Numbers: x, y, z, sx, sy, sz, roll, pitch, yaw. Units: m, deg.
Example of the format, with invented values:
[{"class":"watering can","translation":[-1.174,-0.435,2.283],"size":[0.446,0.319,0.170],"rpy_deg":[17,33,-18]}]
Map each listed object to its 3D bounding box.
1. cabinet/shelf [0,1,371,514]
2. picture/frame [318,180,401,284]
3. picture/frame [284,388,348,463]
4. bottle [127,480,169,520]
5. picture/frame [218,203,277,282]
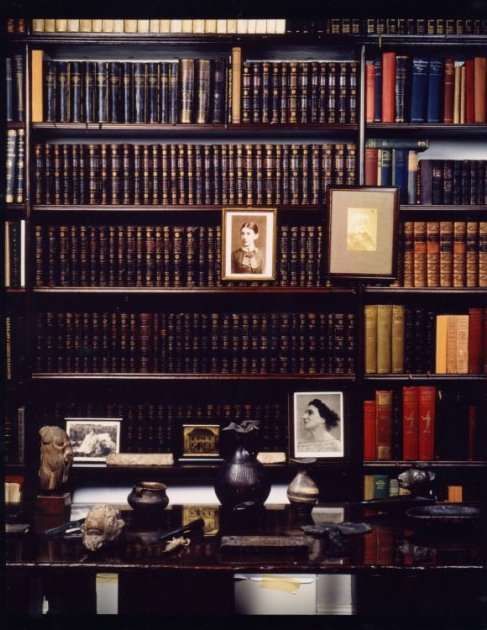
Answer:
[{"class":"cabinet/shelf","translation":[-0.218,-0.239,4.785],"size":[1.754,2.297,0.711],"rpy_deg":[0,-1,-2]},{"class":"picture/frame","translation":[0.431,-0.318,4.818],"size":[0.358,0.495,0.047],"rpy_deg":[1,1,2]},{"class":"picture/frame","translation":[0.272,0.423,4.867],"size":[0.244,0.316,0.025],"rpy_deg":[0,-10,-3]},{"class":"bottle","translation":[-0.330,0.634,4.443],"size":[0.123,0.085,0.111],"rpy_deg":[1,-5,5]},{"class":"picture/frame","translation":[0.010,-0.279,4.858],"size":[0.276,0.374,0.019],"rpy_deg":[0,4,-5]}]
